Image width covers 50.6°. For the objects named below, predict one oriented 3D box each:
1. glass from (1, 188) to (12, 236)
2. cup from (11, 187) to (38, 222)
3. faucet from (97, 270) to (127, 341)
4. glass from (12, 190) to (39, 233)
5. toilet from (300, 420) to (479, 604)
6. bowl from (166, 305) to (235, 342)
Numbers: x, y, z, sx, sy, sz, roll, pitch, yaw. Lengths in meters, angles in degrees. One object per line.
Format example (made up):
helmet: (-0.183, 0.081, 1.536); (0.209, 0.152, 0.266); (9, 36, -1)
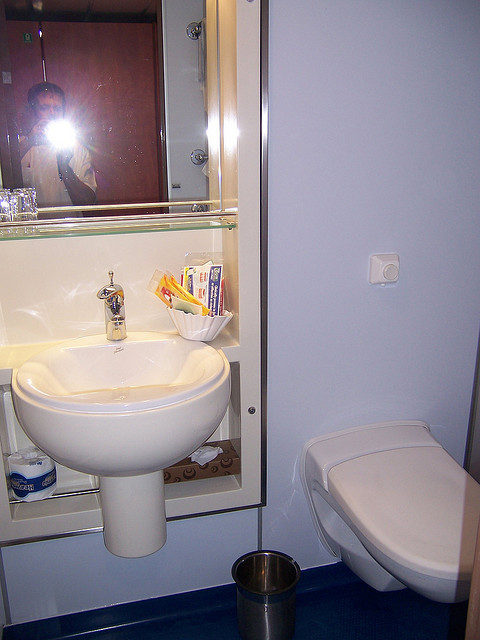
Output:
glass: (-0.488, -0.228, 1.060); (0.029, 0.088, 0.079); (-9, 15, -22)
cup: (-0.462, -0.249, 1.089); (0.061, 0.067, 0.027); (-9, 15, -22)
faucet: (-0.281, -0.033, 1.117); (0.051, 0.151, 0.078); (-6, 14, -9)
glass: (-0.452, -0.229, 1.063); (0.053, 0.087, 0.084); (-9, 15, -21)
toilet: (0.347, 0.376, 1.110); (0.309, 0.281, 0.420); (-6, 15, -9)
bowl: (-0.100, -0.009, 1.143); (0.096, 0.047, 0.098); (0, 6, 0)
